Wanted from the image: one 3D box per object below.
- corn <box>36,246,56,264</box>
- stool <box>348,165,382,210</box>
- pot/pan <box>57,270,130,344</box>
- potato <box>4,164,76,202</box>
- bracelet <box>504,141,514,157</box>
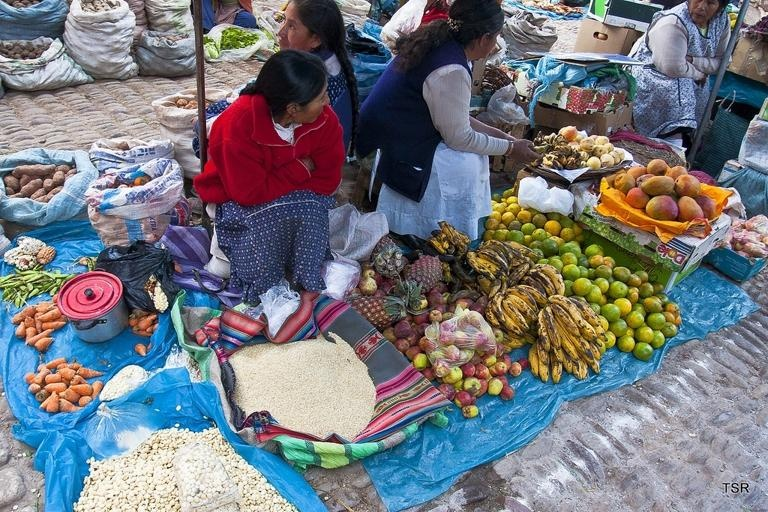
[{"bbox_3d":[-2.990,-0.017,4.801,0.107,0.063,0.152,33,41,-20],"label":"corn"},{"bbox_3d":[-0.188,-0.712,5.759,0.302,0.412,0.421,-9,52,-23],"label":"stool"},{"bbox_3d":[-2.308,0.406,4.343,0.449,0.388,0.415,-28,52,-35],"label":"pot/pan"},{"bbox_3d":[-3.279,-0.700,5.136,0.658,0.172,0.473,0,42,-9],"label":"potato"},{"bbox_3d":[1.224,-1.036,5.248,0.046,0.122,0.102,17,45,12],"label":"bracelet"}]
